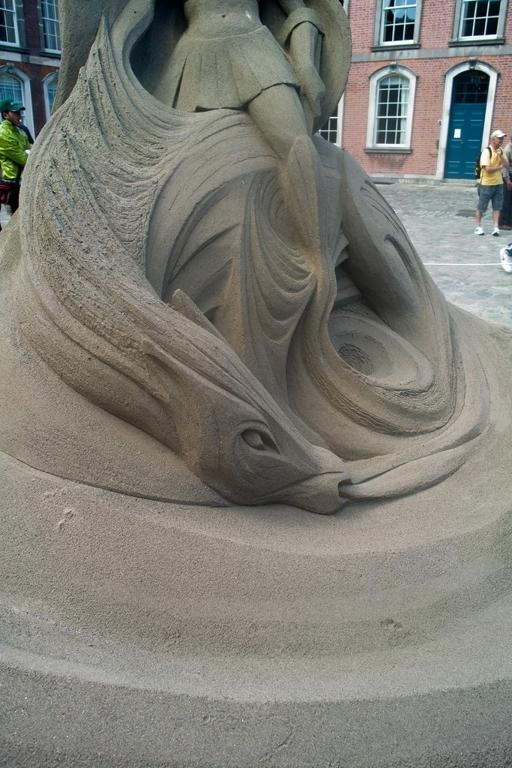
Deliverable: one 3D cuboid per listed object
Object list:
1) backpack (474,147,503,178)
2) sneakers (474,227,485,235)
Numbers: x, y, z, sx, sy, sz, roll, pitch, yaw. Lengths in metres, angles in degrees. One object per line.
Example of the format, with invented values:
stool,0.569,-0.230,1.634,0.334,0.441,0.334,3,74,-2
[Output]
backpack,2.632,-2.448,7.029,0.267,0.479,0.490,5,14,23
sneakers,2.730,-1.857,7.603,0.078,0.085,0.212,-7,23,4
